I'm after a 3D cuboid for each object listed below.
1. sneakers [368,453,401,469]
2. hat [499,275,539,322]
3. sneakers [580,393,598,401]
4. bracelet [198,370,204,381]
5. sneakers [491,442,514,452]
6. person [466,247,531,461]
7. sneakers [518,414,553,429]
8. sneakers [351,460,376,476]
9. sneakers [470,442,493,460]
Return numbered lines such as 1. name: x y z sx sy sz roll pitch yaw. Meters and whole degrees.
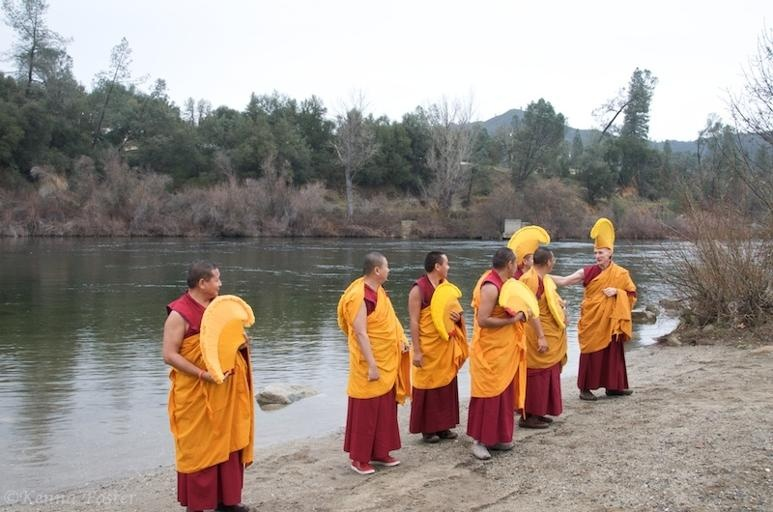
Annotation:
1. sneakers: -0.032 3.069 11.829 0.460 0.213 0.186 1 -3 -2
2. hat: 1.993 0.654 11.991 0.656 0.604 0.207 -1 0 -22
3. sneakers: 3.468 2.427 13.682 0.304 0.177 0.231 -2 -1 12
4. bracelet: -2.497 1.634 10.759 0.021 0.088 0.090 -16 -34 43
5. sneakers: 1.754 2.932 12.088 0.362 0.160 0.132 3 -3 5
6. person: 1.658 1.472 12.149 0.938 3.165 0.534 -1 0 -2
7. sneakers: 2.408 2.676 12.757 0.394 0.144 0.240 -1 -1 -7
8. sneakers: -0.344 3.136 11.733 0.361 0.160 0.170 -3 -3 40
9. sneakers: 1.421 2.943 12.001 0.305 0.283 0.249 -1 -1 6
